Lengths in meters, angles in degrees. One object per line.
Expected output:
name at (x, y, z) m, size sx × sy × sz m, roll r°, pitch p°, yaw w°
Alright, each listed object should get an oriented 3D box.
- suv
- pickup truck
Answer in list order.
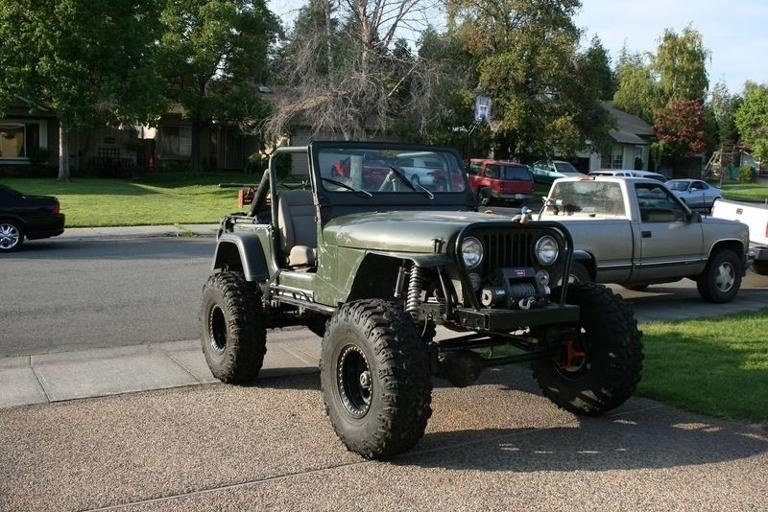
suv at (-0.090, 0.210, 7.562) m, size 2.745 × 2.600 × 4.639 m, roll -2°, pitch 3°, yaw -33°
pickup truck at (4.353, -0.378, 11.998) m, size 4.212 × 1.926 × 2.301 m, roll -5°, pitch 10°, yaw -24°
